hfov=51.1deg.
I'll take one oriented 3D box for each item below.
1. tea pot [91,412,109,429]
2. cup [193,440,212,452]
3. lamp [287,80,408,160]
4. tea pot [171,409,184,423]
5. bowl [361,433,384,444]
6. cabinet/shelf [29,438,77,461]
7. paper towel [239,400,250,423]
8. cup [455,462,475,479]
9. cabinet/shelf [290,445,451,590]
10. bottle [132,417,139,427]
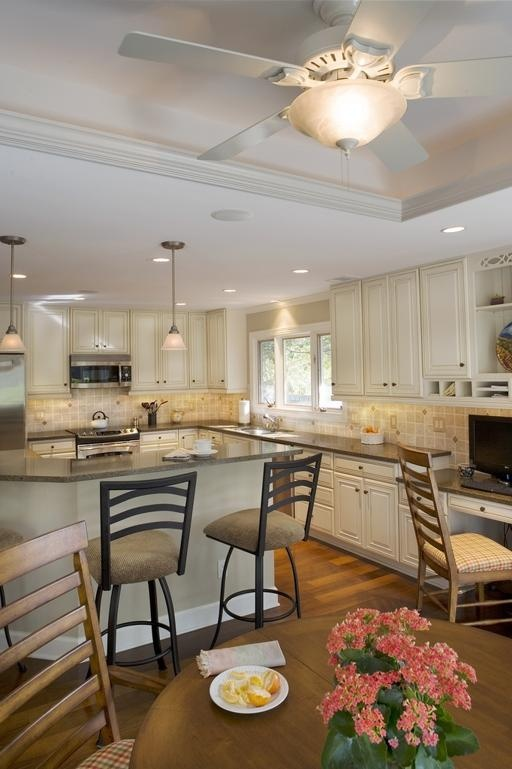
[{"bbox_3d":[-1.823,0.423,6.227,0.160,0.222,0.241,3,5,20],"label":"tea pot"},{"bbox_3d":[-0.302,0.354,3.031,0.067,0.058,0.083,0,-9,-4],"label":"cup"},{"bbox_3d":[0.181,-0.556,1.095,0.232,0.097,0.207,-3,2,3],"label":"lamp"},{"bbox_3d":[-1.002,0.417,6.988,0.216,0.132,0.080,-4,2,-41],"label":"tea pot"},{"bbox_3d":[0.990,0.464,4.549,0.191,0.102,0.129,-3,2,4],"label":"bowl"},{"bbox_3d":[-1.936,0.615,5.042,0.356,0.347,0.237,-1,3,-32],"label":"cabinet/shelf"},{"bbox_3d":[-0.137,0.343,6.508,0.154,0.190,0.164,-3,2,-16],"label":"paper towel"},{"bbox_3d":[1.392,0.583,3.559,0.099,0.069,0.092,0,-2,0],"label":"cup"},{"bbox_3d":[0.827,0.943,3.752,0.392,0.678,1.098,2,0,-27],"label":"cabinet/shelf"},{"bbox_3d":[-1.494,0.475,6.621,0.096,0.150,0.091,-1,3,0],"label":"bottle"}]
